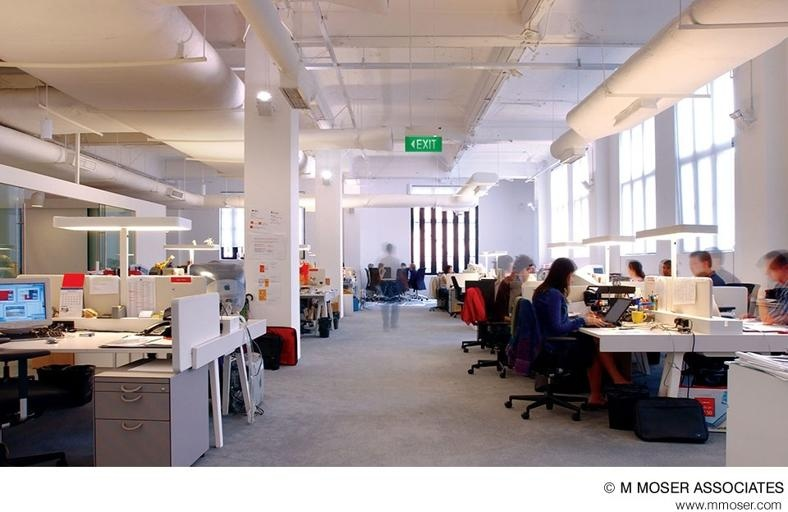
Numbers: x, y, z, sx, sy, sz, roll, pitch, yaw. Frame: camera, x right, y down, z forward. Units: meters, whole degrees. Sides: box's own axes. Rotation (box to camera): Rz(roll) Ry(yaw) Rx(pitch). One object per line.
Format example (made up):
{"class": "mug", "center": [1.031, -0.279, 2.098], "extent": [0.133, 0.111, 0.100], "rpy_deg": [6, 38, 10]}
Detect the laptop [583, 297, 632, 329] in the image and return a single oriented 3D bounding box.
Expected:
{"class": "laptop", "center": [2.445, 0.656, 6.564], "extent": [0.388, 0.229, 0.390], "rpy_deg": [0, -4, -5]}

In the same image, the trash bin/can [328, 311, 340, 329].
{"class": "trash bin/can", "center": [-1.253, 1.377, 12.249], "extent": [0.276, 0.285, 0.298], "rpy_deg": [-3, -1, 29]}

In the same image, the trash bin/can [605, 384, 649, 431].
{"class": "trash bin/can", "center": [2.481, 1.595, 6.123], "extent": [0.427, 0.359, 0.442], "rpy_deg": [0, -5, -6]}

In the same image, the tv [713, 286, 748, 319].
{"class": "tv", "center": [4.065, 0.567, 6.951], "extent": [0.410, 0.364, 0.209], "rpy_deg": [0, -4, 3]}

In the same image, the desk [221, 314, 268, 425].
{"class": "desk", "center": [-1.701, 1.188, 6.415], "extent": [0.444, 1.175, 0.688], "rpy_deg": [-2, 7, -15]}

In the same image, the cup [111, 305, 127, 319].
{"class": "cup", "center": [-3.023, 0.615, 6.322], "extent": [0.131, 0.126, 0.107], "rpy_deg": [1, 7, 8]}

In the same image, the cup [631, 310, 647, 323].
{"class": "cup", "center": [2.846, 0.703, 6.671], "extent": [0.174, 0.118, 0.108], "rpy_deg": [5, -15, -2]}

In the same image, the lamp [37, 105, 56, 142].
{"class": "lamp", "center": [-5.451, -2.083, 8.999], "extent": [0.169, 0.550, 1.195], "rpy_deg": [-4, 8, -31]}

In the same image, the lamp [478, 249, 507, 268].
{"class": "lamp", "center": [2.835, 0.036, 16.578], "extent": [0.733, 0.465, 0.382], "rpy_deg": [0, -4, -6]}

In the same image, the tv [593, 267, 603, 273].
{"class": "tv", "center": [2.992, 0.210, 8.380], "extent": [0.135, 0.112, 0.035], "rpy_deg": [-4, 2, -21]}

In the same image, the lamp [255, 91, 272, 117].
{"class": "lamp", "center": [-1.863, -2.189, 8.268], "extent": [0.233, 0.311, 0.511], "rpy_deg": [-1, 7, -13]}

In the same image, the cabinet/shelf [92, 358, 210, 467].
{"class": "cabinet/shelf", "center": [-2.339, 1.495, 5.630], "extent": [0.783, 0.923, 1.034], "rpy_deg": [2, 4, 6]}

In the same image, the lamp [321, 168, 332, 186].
{"class": "lamp", "center": [-1.576, -1.825, 13.445], "extent": [0.369, 0.473, 0.311], "rpy_deg": [0, -4, -6]}

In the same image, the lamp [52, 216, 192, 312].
{"class": "lamp", "center": [-4.176, 0.091, 8.524], "extent": [1.635, 1.287, 0.848], "rpy_deg": [-1, -3, -7]}

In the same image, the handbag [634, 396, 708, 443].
{"class": "handbag", "center": [2.876, 1.664, 6.015], "extent": [0.692, 0.418, 0.560], "rpy_deg": [-7, -3, 27]}

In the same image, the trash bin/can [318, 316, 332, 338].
{"class": "trash bin/can", "center": [-1.311, 1.337, 10.803], "extent": [0.339, 0.367, 0.318], "rpy_deg": [1, -6, -7]}

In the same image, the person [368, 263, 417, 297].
{"class": "person", "center": [-0.099, 0.686, 17.034], "extent": [1.118, 1.141, 0.941], "rpy_deg": [0, 2, 4]}

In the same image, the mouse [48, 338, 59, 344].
{"class": "mouse", "center": [-3.494, 0.867, 5.881], "extent": [0.067, 0.025, 0.062], "rpy_deg": [3, 6, 5]}
